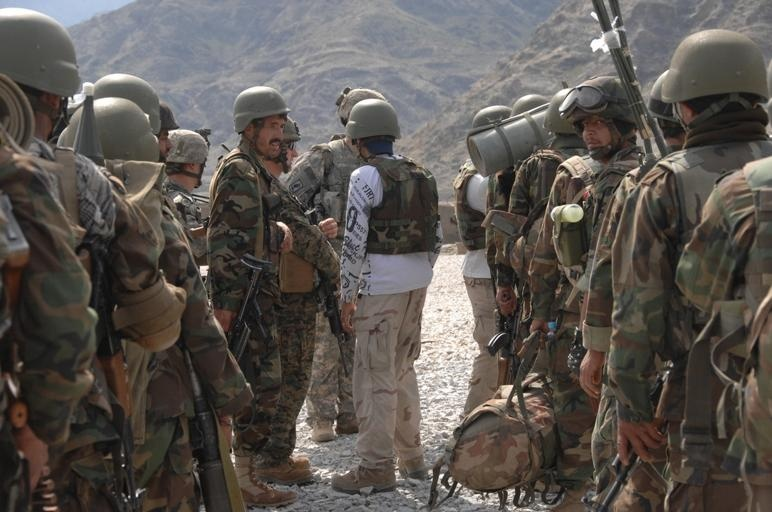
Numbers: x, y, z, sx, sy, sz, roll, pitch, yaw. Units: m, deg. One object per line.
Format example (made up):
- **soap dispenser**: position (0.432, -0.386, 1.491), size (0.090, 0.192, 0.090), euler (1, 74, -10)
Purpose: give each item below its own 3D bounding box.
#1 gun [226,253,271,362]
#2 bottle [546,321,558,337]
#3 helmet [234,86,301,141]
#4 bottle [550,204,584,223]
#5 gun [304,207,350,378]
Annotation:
- **gun**: position (-0.817, 0.301, 5.235), size (0.247, 0.619, 0.182), euler (0, -6, -15)
- **bottle**: position (0.982, 0.436, 5.249), size (0.060, 0.084, 0.086), euler (1, -44, 7)
- **helmet**: position (-0.794, -0.932, 5.745), size (0.338, 0.256, 0.291), euler (1, 14, -2)
- **bottle**: position (1.015, -0.236, 4.960), size (0.178, 0.101, 0.135), euler (-3, -7, 12)
- **gun**: position (-0.420, 0.305, 6.183), size (0.260, 1.303, 0.473), euler (-4, -6, -10)
